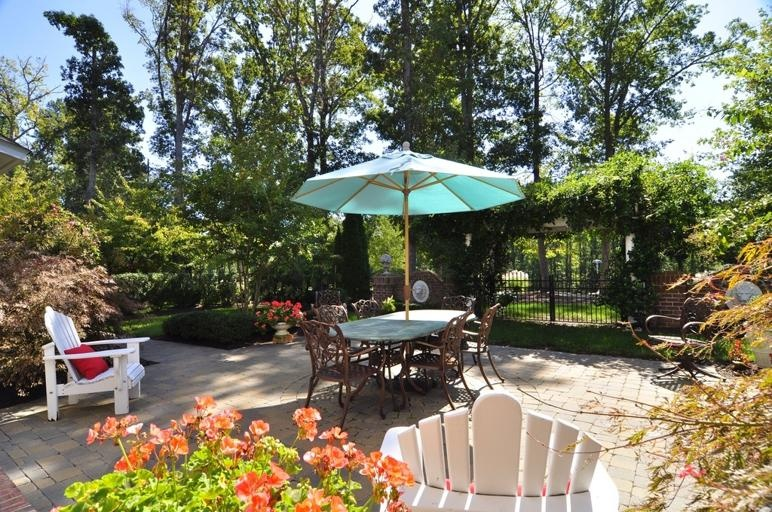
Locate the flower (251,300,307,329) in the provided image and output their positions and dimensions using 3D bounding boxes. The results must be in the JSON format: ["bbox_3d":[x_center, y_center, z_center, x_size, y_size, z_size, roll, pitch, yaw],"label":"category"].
[{"bbox_3d":[-3.356,1.828,18.060,1.234,0.740,1.264,1,-6,-14],"label":"flower"}]

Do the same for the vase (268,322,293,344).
[{"bbox_3d":[-3.187,2.347,17.501,0.569,0.630,0.590,3,-5,-38],"label":"vase"}]

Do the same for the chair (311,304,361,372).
[{"bbox_3d":[-1.208,1.920,14.544,1.378,2.021,1.247,-3,-2,29],"label":"chair"}]

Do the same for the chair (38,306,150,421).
[{"bbox_3d":[-6.928,2.414,13.854,2.403,2.680,2.287,0,0,-10],"label":"chair"}]

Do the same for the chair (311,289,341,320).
[{"bbox_3d":[-1.729,1.446,17.384,0.848,1.240,0.890,1,-8,-4],"label":"chair"}]

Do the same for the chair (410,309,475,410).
[{"bbox_3d":[1.003,2.325,13.720,1.903,2.568,1.649,-1,-3,43],"label":"chair"}]
